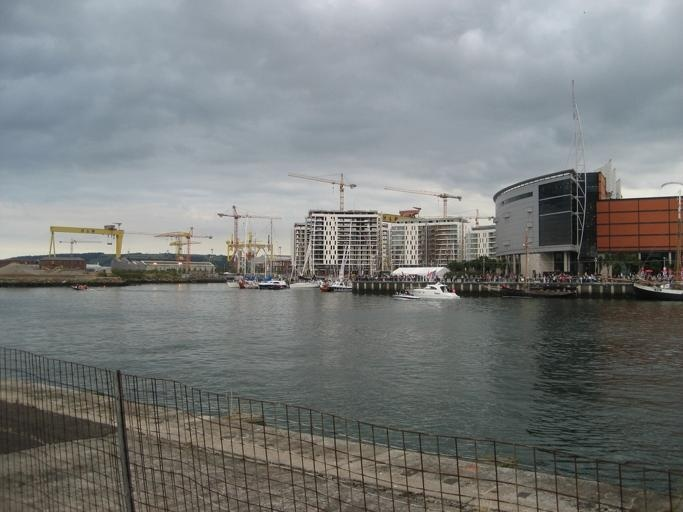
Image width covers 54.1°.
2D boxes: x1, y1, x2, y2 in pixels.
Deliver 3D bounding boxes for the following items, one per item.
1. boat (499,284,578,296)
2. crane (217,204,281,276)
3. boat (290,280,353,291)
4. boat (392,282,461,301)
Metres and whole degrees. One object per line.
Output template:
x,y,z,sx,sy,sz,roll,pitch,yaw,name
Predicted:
33.707,5.692,113.235,8.106,1.248,1.855,2,-5,16,boat
-36.912,0.976,270.912,20.732,30.104,22.141,1,0,36,crane
-4.955,7.476,170.687,14.314,2.720,2.799,1,-2,39,boat
14.607,6.113,115.889,7.017,2.883,14.130,0,0,-26,boat
